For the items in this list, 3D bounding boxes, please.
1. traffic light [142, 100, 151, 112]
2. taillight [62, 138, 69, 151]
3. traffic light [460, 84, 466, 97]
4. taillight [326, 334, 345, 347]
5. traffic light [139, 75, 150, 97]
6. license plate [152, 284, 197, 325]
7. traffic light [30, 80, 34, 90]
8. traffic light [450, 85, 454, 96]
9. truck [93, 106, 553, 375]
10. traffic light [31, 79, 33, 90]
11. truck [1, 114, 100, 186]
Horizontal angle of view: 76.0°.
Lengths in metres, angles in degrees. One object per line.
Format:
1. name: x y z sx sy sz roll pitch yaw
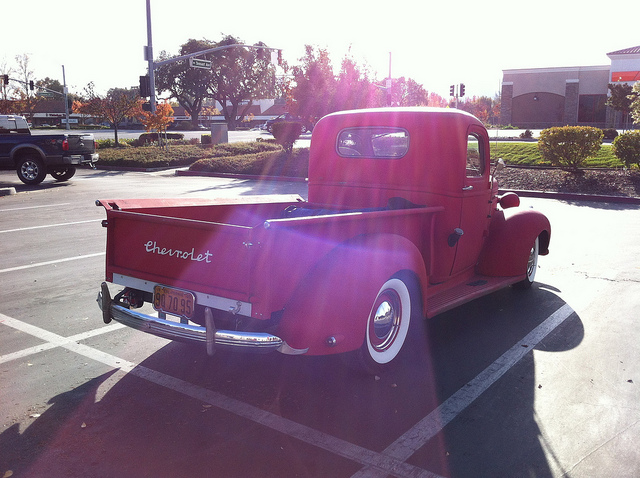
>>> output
1. traffic light: -11.840 -9.077 27.815 0.694 0.468 0.718 1 0 26
2. taillight: -10.295 -3.777 16.541 0.242 0.445 0.144 -10 17 -38
3. traffic light: 11.668 -12.102 33.423 0.225 0.821 0.858 9 16 32
4. taillight: 0.131 0.829 3.371 0.140 0.074 0.058 -4 56 -56
5. traffic light: -11.379 -9.943 26.575 0.488 1.368 1.602 -4 14 -17
6. license plate: -1.283 0.599 3.597 0.450 0.352 0.066 8 9 21
7. traffic light: -31.501 -16.806 44.594 0.263 0.805 0.787 -10 17 -37
8. traffic light: 11.287 -12.561 34.758 0.331 0.750 0.717 5 14 18
9. truck: 0.563 -0.134 5.173 2.762 2.286 5.494 10 18 37
10. traffic light: -31.549 -16.784 44.755 0.184 0.743 0.831 -9 16 -34
11. truck: -11.839 -3.601 17.233 4.199 2.028 2.256 7 9 15
